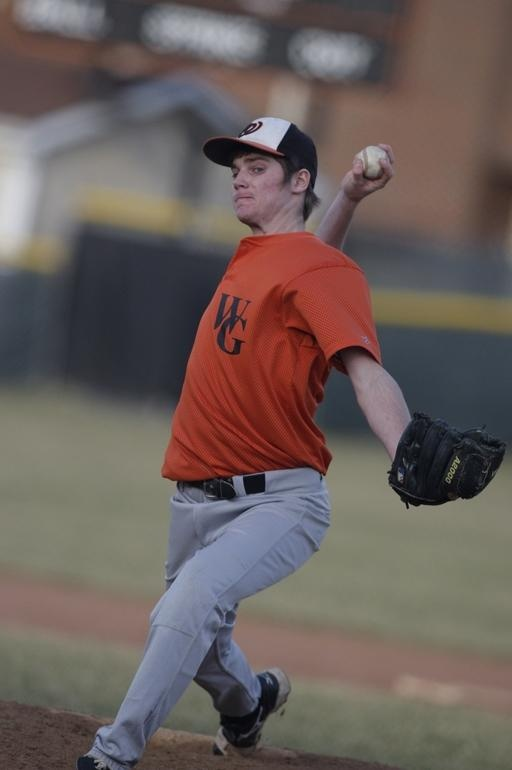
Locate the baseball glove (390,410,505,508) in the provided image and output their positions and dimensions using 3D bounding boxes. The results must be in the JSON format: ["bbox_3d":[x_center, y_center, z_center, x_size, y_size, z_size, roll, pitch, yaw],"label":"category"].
[{"bbox_3d":[0.402,0.172,2.165,0.248,0.183,0.109,23,-4,13],"label":"baseball glove"}]

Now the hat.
[{"bbox_3d":[0.043,-0.652,2.928,0.315,0.139,0.215,21,-7,-20],"label":"hat"}]

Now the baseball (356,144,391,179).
[{"bbox_3d":[0.347,-0.656,2.936,0.084,0.088,0.079,-1,7,39],"label":"baseball"}]

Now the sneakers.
[{"bbox_3d":[0.001,1.000,3.053,0.229,0.241,0.105,29,19,39],"label":"sneakers"}]

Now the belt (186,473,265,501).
[{"bbox_3d":[-0.069,0.264,2.661,0.097,0.041,0.125,-1,2,36],"label":"belt"}]

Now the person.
[{"bbox_3d":[0.046,0.287,2.756,0.791,1.985,1.197,9,16,-6],"label":"person"}]
